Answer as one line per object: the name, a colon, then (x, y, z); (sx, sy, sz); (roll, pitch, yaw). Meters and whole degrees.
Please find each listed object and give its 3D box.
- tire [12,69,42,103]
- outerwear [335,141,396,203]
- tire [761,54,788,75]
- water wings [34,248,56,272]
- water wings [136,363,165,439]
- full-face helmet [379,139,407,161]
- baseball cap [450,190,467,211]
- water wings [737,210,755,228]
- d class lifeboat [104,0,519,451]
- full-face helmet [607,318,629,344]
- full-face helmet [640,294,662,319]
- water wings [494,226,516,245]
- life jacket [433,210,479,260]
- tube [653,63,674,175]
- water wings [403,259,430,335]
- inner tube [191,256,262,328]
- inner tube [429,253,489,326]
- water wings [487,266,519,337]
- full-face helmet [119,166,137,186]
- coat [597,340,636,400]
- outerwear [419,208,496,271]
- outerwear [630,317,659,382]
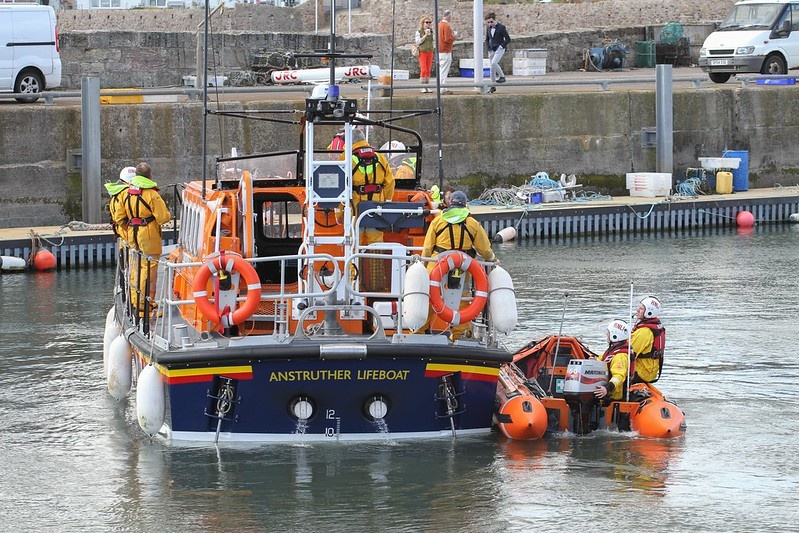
tire: (-7.272, -3.555, 35.257); (0.216, 0.598, 0.600); (8, -4, 24)
outerwear: (-0.494, -1.308, 25.188); (0.792, 0.855, 0.470); (-5, 14, -20)
tire: (8.339, -4.547, 40.312); (0.498, 0.496, 0.175); (4, 0, -33)
water wings: (-6.357, -0.131, 32.421); (0.381, 0.394, 0.255); (-4, 6, -8)
water wings: (-3.403, 1.829, 24.853); (0.386, 0.981, 0.219); (-4, 6, -8)
full-face helmet: (-0.065, -1.747, 26.198); (0.270, 0.354, 0.342); (-1, -4, -28)
baseball cap: (0.821, -0.944, 25.172); (0.186, 0.206, 0.247); (4, 20, 3)
water wings: (7.075, -0.983, 36.930); (0.353, 0.356, 0.294); (-2, 6, 8)
d class lifeboat: (-1.622, -0.335, 27.652); (4.325, 4.436, 7.145); (0, 10, -7)
full-face helmet: (3.059, 0.897, 25.230); (0.312, 0.280, 0.262); (9, 13, 31)
full-face helmet: (3.517, 0.564, 25.257); (0.303, 0.291, 0.262); (5, 3, 7)
water wings: (2.067, -0.628, 35.226); (0.446, 0.217, 0.443); (-22, 8, -33)
life jacket: (0.664, -0.530, 25.090); (0.325, 0.469, 0.593); (-16, 49, -8)
tube: (5.501, -3.087, 37.573); (0.338, 2.224, 0.377); (-2, 6, 3)
water wings: (0.240, 0.409, 24.663); (0.396, 0.971, 0.252); (-3, 6, -1)
inner tube: (-2.349, 0.313, 24.565); (0.896, 0.988, 0.293); (-4, -2, 6)
inner tube: (0.818, 0.268, 24.698); (0.860, 0.961, 0.257); (-4, -2, -10)
water wings: (1.429, 0.439, 25.107); (0.356, 1.019, 0.375); (-7, -20, -7)
full-face helmet: (-4.066, -1.370, 27.164); (0.232, 0.282, 0.302); (-1, 22, -15)
coat: (3.077, 1.411, 25.444); (0.379, 0.843, 1.063); (5, 22, 5)
outerwear: (0.809, -0.405, 25.217); (1.126, 0.992, 0.469); (1, 15, -2)
outerwear: (3.418, 1.132, 25.164); (0.471, 0.818, 0.768); (5, 11, 25)
